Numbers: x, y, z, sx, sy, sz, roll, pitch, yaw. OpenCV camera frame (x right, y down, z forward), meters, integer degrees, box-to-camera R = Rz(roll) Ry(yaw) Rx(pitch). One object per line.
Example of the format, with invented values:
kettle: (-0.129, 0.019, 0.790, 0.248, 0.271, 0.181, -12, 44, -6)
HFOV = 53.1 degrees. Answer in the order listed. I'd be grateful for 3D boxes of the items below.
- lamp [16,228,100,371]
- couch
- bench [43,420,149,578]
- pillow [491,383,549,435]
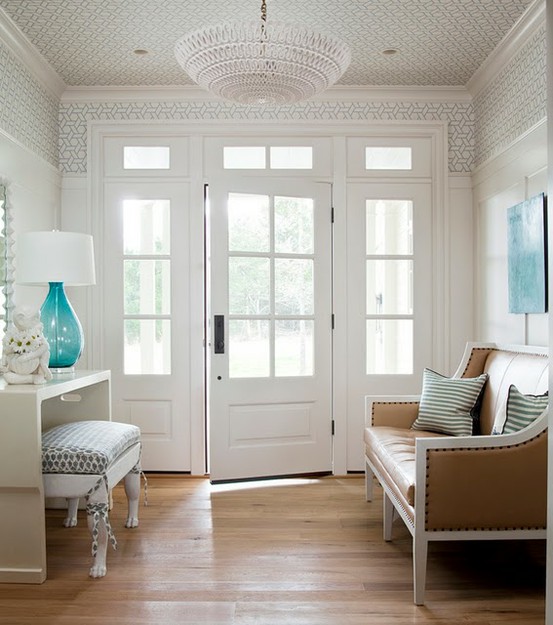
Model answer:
lamp: (-1.127, -0.043, 2.882, 0.384, 0.713, 0.384, -1, -4, -22)
couch: (0.859, 0.628, 2.557, 0.786, 0.911, 1.222, 0, 0, -1)
bench: (-0.866, 0.808, 2.531, 0.459, 0.515, 0.668, 0, -1, 1)
pillow: (0.924, 0.388, 2.082, 0.055, 0.191, 0.188, 24, 2, -24)
